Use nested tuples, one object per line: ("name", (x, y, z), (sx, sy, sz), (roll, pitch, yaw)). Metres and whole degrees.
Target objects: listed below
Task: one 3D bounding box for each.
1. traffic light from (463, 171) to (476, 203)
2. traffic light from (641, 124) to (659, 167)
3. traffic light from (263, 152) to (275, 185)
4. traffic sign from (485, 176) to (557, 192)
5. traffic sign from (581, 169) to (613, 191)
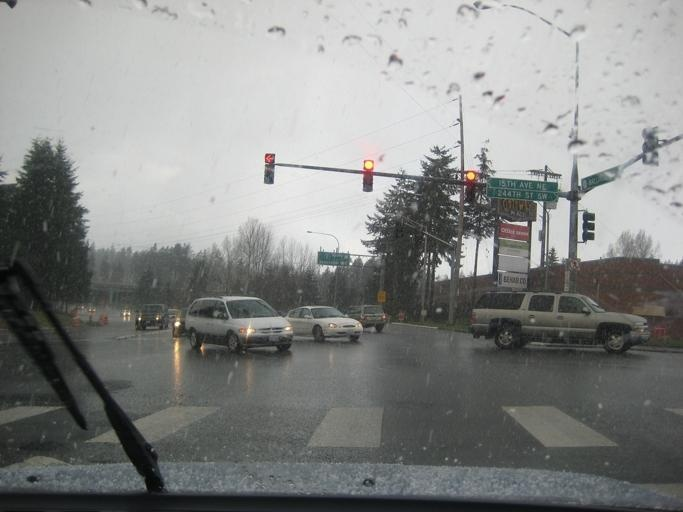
("traffic light", (4.007, -2.106, 18.778), (0.357, 0.981, 1.436), (-1, -4, 12))
("traffic light", (8.203, -2.841, 16.152), (0.437, 1.084, 1.244), (-2, -4, 27))
("traffic light", (-2.122, -2.561, 17.997), (0.266, 0.843, 0.159), (1, -3, -22))
("traffic sign", (6.035, -2.356, 20.234), (2.232, 0.479, 0.442), (-1, -4, 5))
("traffic sign", (8.120, -2.339, 19.392), (0.542, 0.460, 1.863), (-1, -5, 7))
